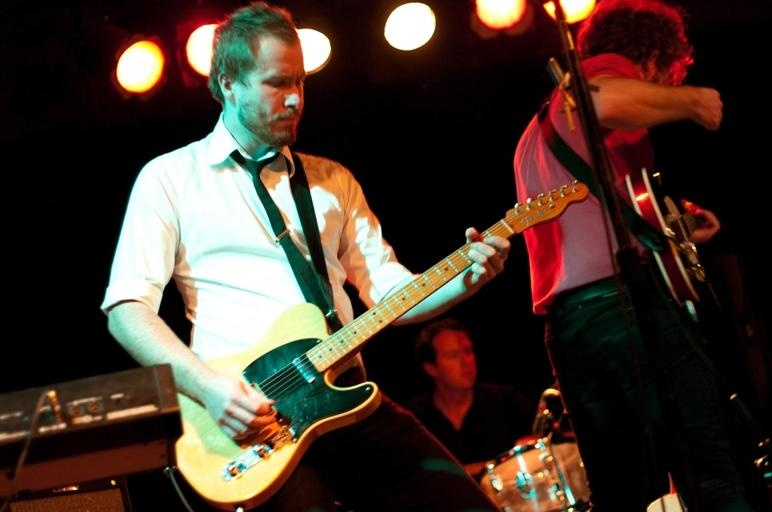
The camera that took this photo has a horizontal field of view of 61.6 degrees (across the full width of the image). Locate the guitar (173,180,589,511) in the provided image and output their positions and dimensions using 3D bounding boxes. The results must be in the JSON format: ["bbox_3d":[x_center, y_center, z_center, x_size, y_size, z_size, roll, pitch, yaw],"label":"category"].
[{"bbox_3d":[0.008,0.408,2.960,2.052,0.669,0.229,-36,-26,-26],"label":"guitar"}]

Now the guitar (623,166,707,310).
[{"bbox_3d":[1.302,-0.078,3.036,0.096,0.282,0.708,-21,6,17],"label":"guitar"}]

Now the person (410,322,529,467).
[{"bbox_3d":[0.445,0.804,3.774,0.569,0.807,0.245,-34,0,7],"label":"person"}]

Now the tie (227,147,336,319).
[{"bbox_3d":[-0.469,-0.163,3.026,0.292,1.050,0.072,-12,-17,-26],"label":"tie"}]
